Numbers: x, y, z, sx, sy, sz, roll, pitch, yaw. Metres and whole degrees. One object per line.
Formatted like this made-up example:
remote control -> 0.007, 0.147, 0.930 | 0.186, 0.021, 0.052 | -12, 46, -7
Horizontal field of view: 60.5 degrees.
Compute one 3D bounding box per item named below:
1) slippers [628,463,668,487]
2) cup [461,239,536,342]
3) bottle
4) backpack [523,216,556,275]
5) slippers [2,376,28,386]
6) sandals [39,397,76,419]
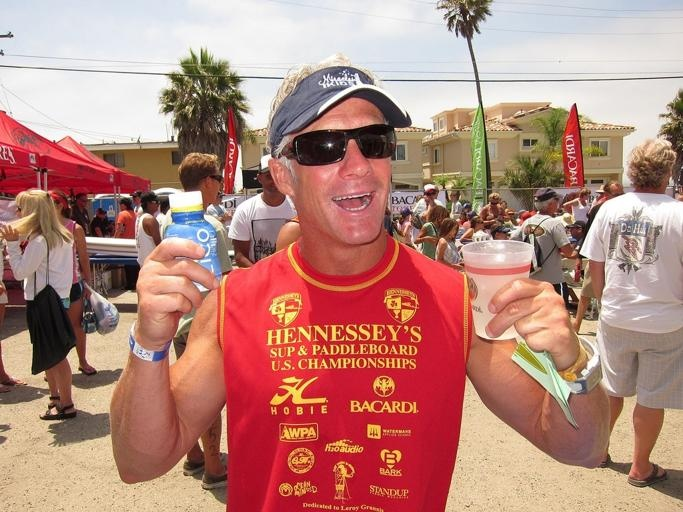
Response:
slippers -> 2.552, 1.809, 4.867 | 0.310, 0.118, 0.145 | -5, 5, -29
cup -> 0.726, 0.158, 2.747 | 0.276, 0.439, 0.209 | -5, 10, -23
bottle -> -0.703, -0.115, 2.801 | 0.246, 0.518, 0.225 | 3, 7, 0
backpack -> 2.647, -0.169, 7.875 | 0.271, 0.565, 0.277 | -32, -2, -5
slippers -> -3.954, 1.517, 7.010 | 0.219, 0.059, 0.087 | 2, 7, 11
sandals -> -2.988, 1.633, 6.160 | 0.337, 0.165, 0.179 | 5, 0, 18
